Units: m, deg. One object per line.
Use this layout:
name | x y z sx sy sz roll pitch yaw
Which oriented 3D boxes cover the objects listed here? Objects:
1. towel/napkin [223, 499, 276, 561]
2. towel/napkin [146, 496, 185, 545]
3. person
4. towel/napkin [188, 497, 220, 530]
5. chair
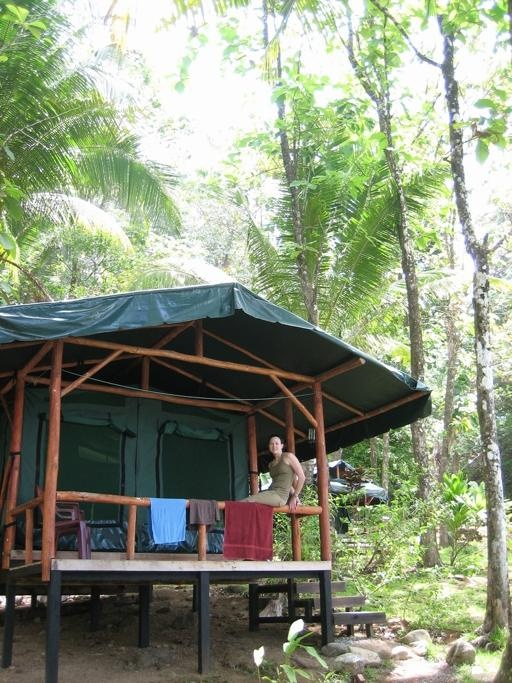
towel/napkin | -0.083 2.169 6.810 0.760 0.763 0.111 13 -32 -21
towel/napkin | -0.899 1.846 6.136 0.476 0.438 0.084 12 -21 -41
person | 0.280 1.650 7.502 0.621 0.906 0.979 -6 -14 16
towel/napkin | -0.583 1.891 6.464 0.407 0.335 0.315 9 -30 -26
chair | -2.004 1.914 6.360 0.626 0.550 0.602 -2 -9 4
